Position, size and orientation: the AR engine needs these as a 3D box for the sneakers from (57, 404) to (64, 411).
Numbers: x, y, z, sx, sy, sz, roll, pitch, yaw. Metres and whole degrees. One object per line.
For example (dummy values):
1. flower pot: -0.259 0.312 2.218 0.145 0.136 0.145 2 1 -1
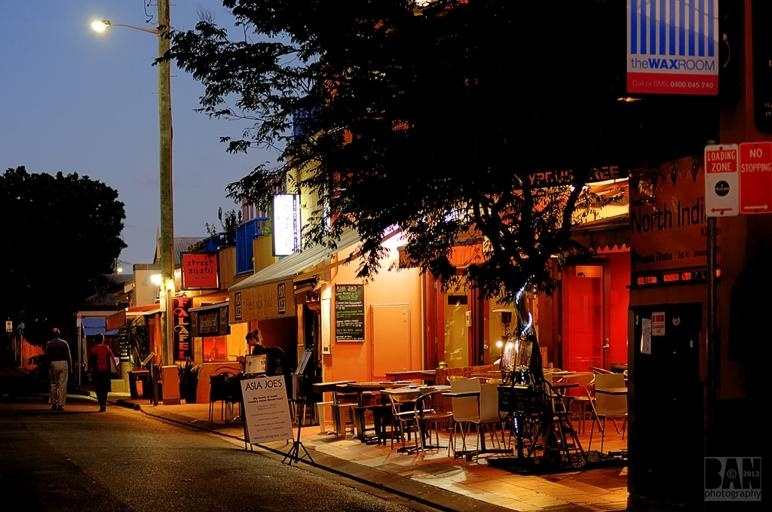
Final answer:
1. sneakers: -9.225 4.280 24.711 0.156 0.167 0.117 1 -3 -4
